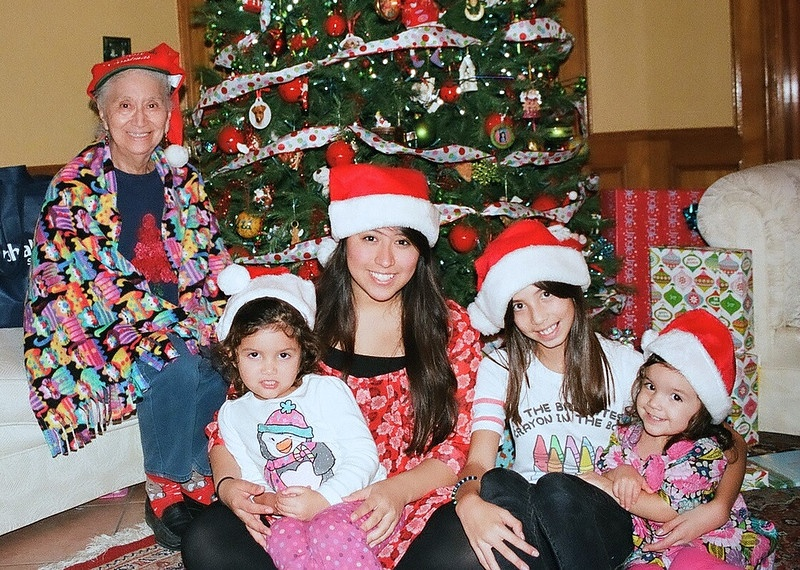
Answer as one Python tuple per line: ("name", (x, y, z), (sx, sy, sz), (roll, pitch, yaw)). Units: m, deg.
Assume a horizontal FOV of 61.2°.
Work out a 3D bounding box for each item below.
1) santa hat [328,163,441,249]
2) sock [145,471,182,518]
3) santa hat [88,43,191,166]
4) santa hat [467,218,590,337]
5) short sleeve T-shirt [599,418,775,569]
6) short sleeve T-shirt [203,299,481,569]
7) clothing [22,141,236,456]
("santa hat", (-0.064, -0.259, 2.364), (0.441, 0.298, 0.383), (-4, 0, 26))
("sock", (-0.873, 0.769, 2.472), (0.094, 0.116, 0.163), (-9, 7, -35))
("santa hat", (-1.068, -0.779, 2.884), (0.362, 0.485, 0.219), (0, 2, 1))
("santa hat", (0.393, -0.019, 2.294), (0.319, 0.304, 0.402), (-12, -6, -14))
("short sleeve T-shirt", (0.879, 0.660, 2.033), (0.529, 0.457, 0.233), (-2, 6, 8))
("short sleeve T-shirt", (-0.171, 0.474, 2.060), (0.632, 0.693, 0.258), (3, -6, 4))
("clothing", (-1.112, 0.061, 2.548), (0.866, 1.184, 0.297), (0, -8, -37))
